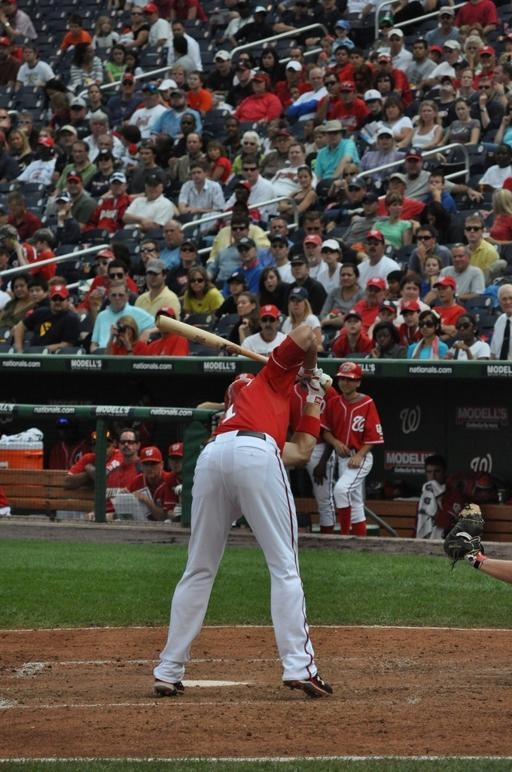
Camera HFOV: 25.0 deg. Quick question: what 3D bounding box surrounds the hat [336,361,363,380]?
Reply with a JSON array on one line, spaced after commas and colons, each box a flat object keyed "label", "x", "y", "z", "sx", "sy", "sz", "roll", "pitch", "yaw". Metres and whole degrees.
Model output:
[{"label": "hat", "x": 0.768, "y": -0.124, "z": 9.543, "sx": 0.198, "sy": 0.119, "sz": 0.276, "roll": 1, "pitch": -2, "yaw": 2}]

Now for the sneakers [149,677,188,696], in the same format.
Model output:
[{"label": "sneakers", "x": -0.376, "y": 1.283, "z": 4.902, "sx": 0.060, "sy": 0.072, "sz": 0.164, "roll": -3, "pitch": -24, "yaw": 21}]

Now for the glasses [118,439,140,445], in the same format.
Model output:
[{"label": "glasses", "x": -1.072, "y": 0.476, "z": 9.779, "sx": 0.184, "sy": 0.045, "sz": 0.035, "roll": -1, "pitch": -1, "yaw": 32}]

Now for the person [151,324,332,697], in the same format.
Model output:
[{"label": "person", "x": -0.047, "y": 0.534, "z": 4.857, "sx": 0.739, "sy": 1.281, "sz": 0.443, "roll": 1, "pitch": 0, "yaw": 3}]

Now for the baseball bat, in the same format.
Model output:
[{"label": "baseball bat", "x": -0.082, "y": -0.161, "z": 5.351, "sx": 0.154, "sy": 0.160, "sz": 1.182, "roll": 16, "pitch": 7, "yaw": 34}]

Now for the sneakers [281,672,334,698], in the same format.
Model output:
[{"label": "sneakers", "x": 0.216, "y": 1.249, "z": 4.807, "sx": 0.192, "sy": 0.086, "sz": 0.349, "roll": 0, "pitch": -2, "yaw": 3}]
